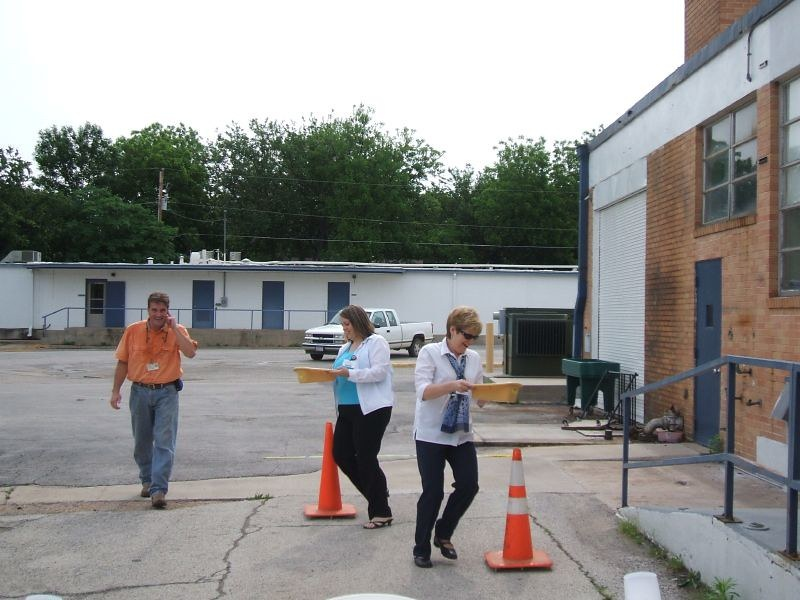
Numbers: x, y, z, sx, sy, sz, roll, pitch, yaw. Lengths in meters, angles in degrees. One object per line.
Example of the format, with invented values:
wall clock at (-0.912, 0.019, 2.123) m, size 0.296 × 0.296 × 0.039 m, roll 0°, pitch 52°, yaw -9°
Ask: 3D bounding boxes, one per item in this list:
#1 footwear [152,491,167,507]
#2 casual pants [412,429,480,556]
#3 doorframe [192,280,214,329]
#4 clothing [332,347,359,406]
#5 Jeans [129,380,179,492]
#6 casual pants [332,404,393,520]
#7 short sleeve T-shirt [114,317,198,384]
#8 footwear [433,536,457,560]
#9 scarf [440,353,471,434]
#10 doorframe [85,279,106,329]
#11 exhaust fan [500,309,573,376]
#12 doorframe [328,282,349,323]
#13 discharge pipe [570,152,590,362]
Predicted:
footwear at (-2.628, 2.198, 9.201) m, size 0.159 × 0.172 × 0.171 m, roll 1°, pitch -2°, yaw -18°
casual pants at (0.424, 1.834, 7.736) m, size 0.586 × 1.080 × 0.343 m, roll 0°, pitch -2°, yaw 0°
doorframe at (-9.268, 0.205, 39.761) m, size 1.061 × 2.505 × 0.186 m, roll -1°, pitch 24°, yaw -18°
clothing at (-0.506, 0.779, 8.826) m, size 0.266 × 0.558 × 0.399 m, roll 5°, pitch 13°, yaw 8°
Jeans at (-2.759, 1.578, 9.481) m, size 0.527 × 1.276 × 0.591 m, roll 1°, pitch -2°, yaw -19°
casual pants at (-0.381, 1.684, 8.707) m, size 0.632 × 1.189 × 0.346 m, roll -1°, pitch -2°, yaw 39°
short sleeve T-shirt at (-2.790, 0.563, 9.613) m, size 0.820 × 0.771 × 0.417 m, roll 2°, pitch 14°, yaw -16°
footwear at (0.428, 2.307, 7.774) m, size 0.110 × 0.121 × 0.309 m, roll 9°, pitch -9°, yaw -16°
scarf at (0.518, 0.854, 7.693) m, size 0.282 × 0.738 × 0.194 m, roll 1°, pitch -2°, yaw -9°
doorframe at (-14.492, 0.127, 40.267) m, size 0.934 × 2.664 × 0.279 m, roll -1°, pitch 32°, yaw -24°
exhaust fan at (3.428, 1.013, 21.604) m, size 2.031 × 2.110 × 1.477 m, roll 0°, pitch -1°, yaw -1°
doorframe at (-2.904, -0.276, 40.045) m, size 1.028 × 1.947 × 0.223 m, roll -1°, pitch 46°, yaw -8°
discharge pipe at (3.758, -1.020, 17.484) m, size 0.359 × 4.680 × 0.377 m, roll 0°, pitch -9°, yaw 26°
